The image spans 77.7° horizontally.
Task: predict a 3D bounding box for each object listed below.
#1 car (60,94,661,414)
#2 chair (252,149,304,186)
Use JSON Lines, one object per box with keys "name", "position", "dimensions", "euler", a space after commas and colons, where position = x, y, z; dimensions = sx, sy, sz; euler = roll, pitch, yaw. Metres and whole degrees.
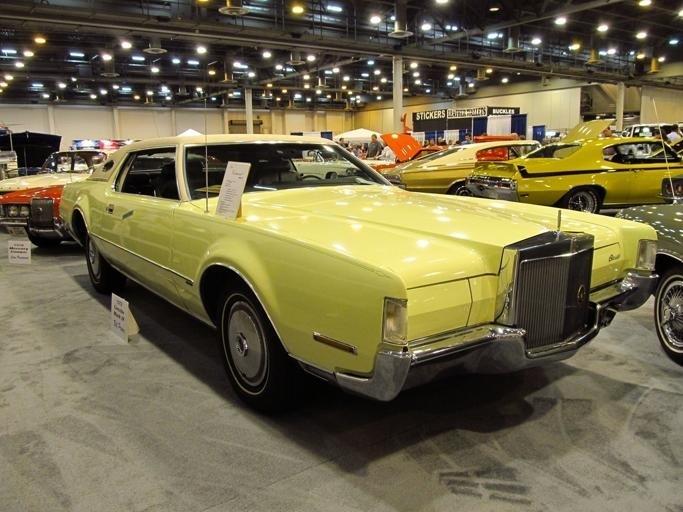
{"name": "car", "position": [-0.453, -0.001, 3.053], "dimensions": [1.985, 0.962, 3.819], "euler": [-10, 15, -43]}
{"name": "chair", "position": [-0.432, -0.694, 3.416], "dimensions": [0.446, 0.352, 0.348], "euler": [5, 2, 0]}
